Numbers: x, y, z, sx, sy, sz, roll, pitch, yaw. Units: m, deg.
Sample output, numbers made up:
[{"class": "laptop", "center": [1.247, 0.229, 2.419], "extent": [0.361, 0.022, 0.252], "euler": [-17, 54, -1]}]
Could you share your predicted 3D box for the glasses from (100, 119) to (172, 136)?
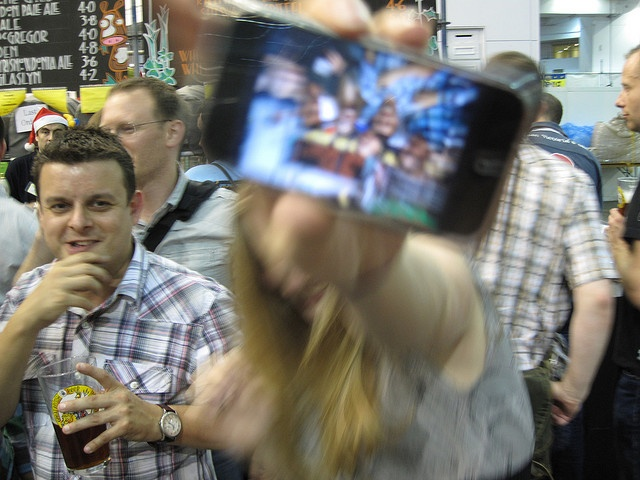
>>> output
[{"class": "glasses", "center": [-0.888, -0.540, 2.711], "extent": [0.196, 0.054, 0.202], "euler": [-3, 6, 41]}]
